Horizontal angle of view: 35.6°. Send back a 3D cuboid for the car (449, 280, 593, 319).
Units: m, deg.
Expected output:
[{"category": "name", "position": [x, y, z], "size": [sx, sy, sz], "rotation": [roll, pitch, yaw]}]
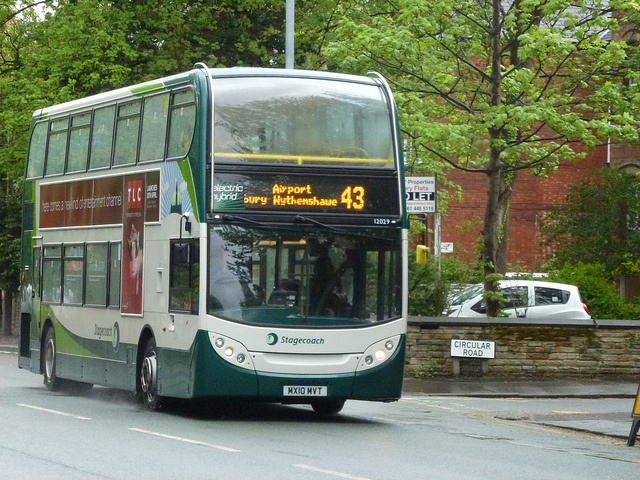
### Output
[{"category": "car", "position": [5.349, 1.624, 26.657], "size": [2.703, 1.122, 1.589], "rotation": [2, -3, -1]}]
